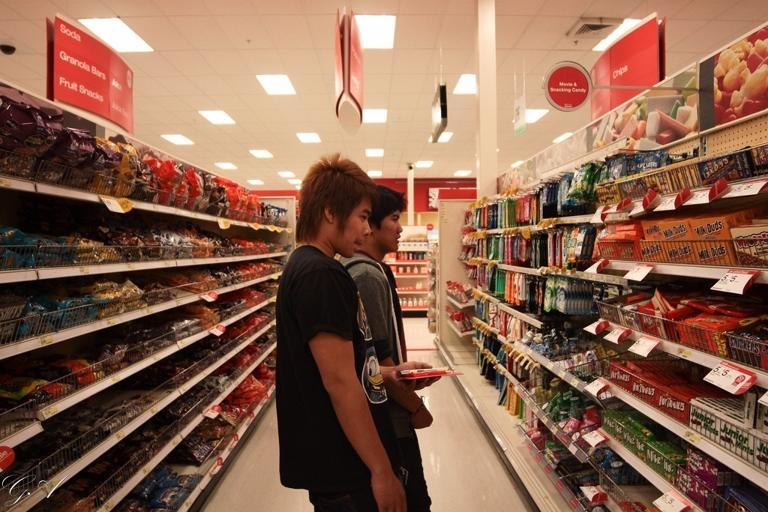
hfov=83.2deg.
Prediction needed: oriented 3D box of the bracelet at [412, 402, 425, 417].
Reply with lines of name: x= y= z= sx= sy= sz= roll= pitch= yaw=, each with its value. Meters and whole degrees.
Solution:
bracelet: x=0.203 y=0.867 z=2.471 sx=0.074 sy=0.021 sz=0.057 roll=-27 pitch=-4 yaw=-40
